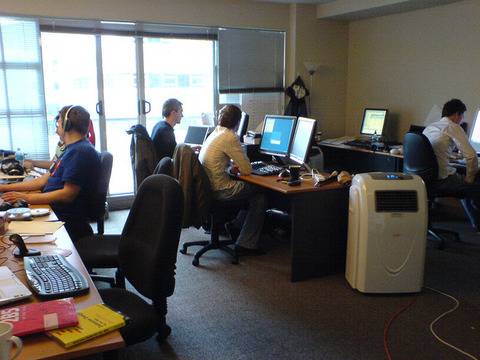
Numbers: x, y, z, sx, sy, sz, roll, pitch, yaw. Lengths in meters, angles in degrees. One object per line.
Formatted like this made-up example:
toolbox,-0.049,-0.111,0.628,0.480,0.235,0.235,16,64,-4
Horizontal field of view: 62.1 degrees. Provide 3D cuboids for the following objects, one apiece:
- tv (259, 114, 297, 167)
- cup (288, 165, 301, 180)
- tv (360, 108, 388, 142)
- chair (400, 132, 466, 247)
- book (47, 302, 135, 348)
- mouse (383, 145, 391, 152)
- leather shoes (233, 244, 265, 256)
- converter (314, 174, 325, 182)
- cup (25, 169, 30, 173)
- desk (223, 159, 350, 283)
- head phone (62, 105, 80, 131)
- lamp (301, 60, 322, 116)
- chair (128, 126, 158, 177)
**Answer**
tv,0.415,-0.414,4.354,0.056,0.445,0.499,8,14,-30
cup,0.491,-0.073,3.638,0.106,0.128,0.113,0,1,0
tv,2.002,-0.816,5.942,0.173,0.478,0.458,7,10,-34
chair,2.118,0.064,4.470,0.453,1.212,0.679,-11,19,-33
book,-0.665,0.641,1.763,0.175,0.037,0.154,-10,20,-39
mouse,2.020,-0.434,5.535,0.095,0.076,0.133,0,12,0
leather shoes,0.082,0.721,4.197,0.335,0.155,0.120,-3,9,-10
converter,0.725,-0.022,3.648,0.063,0.024,0.063,-8,18,-37
cup,-2.134,-0.089,4.029,0.041,0.027,0.041,3,15,-1
desk,0.464,0.288,3.848,0.806,0.810,1.045,-3,9,-23
head phone,-1.325,-0.481,3.148,0.060,0.155,0.180,9,12,-4
lamp,1.125,-1.438,6.357,0.261,0.846,0.428,2,16,11
chair,-1.104,-0.318,4.422,0.409,0.616,0.254,10,19,32
